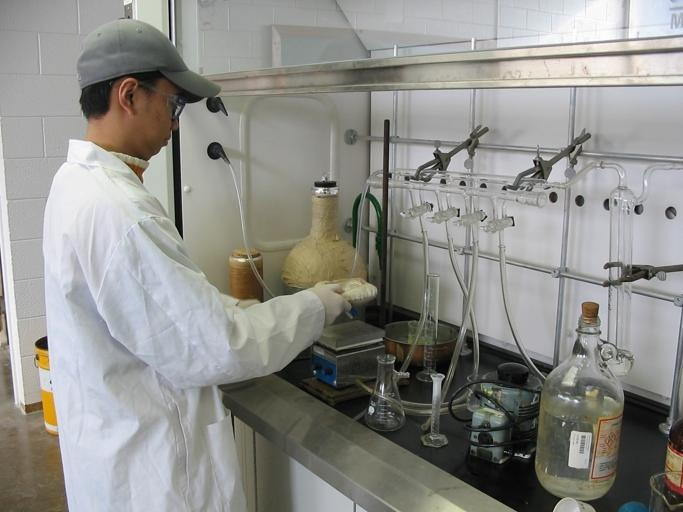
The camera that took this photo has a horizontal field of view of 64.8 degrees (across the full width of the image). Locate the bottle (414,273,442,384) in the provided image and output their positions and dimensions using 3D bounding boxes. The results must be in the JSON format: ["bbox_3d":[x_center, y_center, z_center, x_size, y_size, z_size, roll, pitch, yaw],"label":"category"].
[{"bbox_3d":[0.292,0.247,1.847,0.076,0.377,0.132,-1,10,8],"label":"bottle"}]

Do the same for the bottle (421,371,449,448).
[{"bbox_3d":[0.270,0.425,1.564,0.074,0.213,0.154,0,10,11],"label":"bottle"}]

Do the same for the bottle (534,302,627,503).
[{"bbox_3d":[0.553,0.336,1.249,0.184,0.475,0.127,0,10,12],"label":"bottle"}]

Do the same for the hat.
[{"bbox_3d":[-0.491,-0.487,1.369,0.276,0.154,0.180,-2,17,-20],"label":"hat"}]

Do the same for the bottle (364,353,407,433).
[{"bbox_3d":[0.127,0.413,1.599,0.108,0.211,0.080,-4,10,-12],"label":"bottle"}]
